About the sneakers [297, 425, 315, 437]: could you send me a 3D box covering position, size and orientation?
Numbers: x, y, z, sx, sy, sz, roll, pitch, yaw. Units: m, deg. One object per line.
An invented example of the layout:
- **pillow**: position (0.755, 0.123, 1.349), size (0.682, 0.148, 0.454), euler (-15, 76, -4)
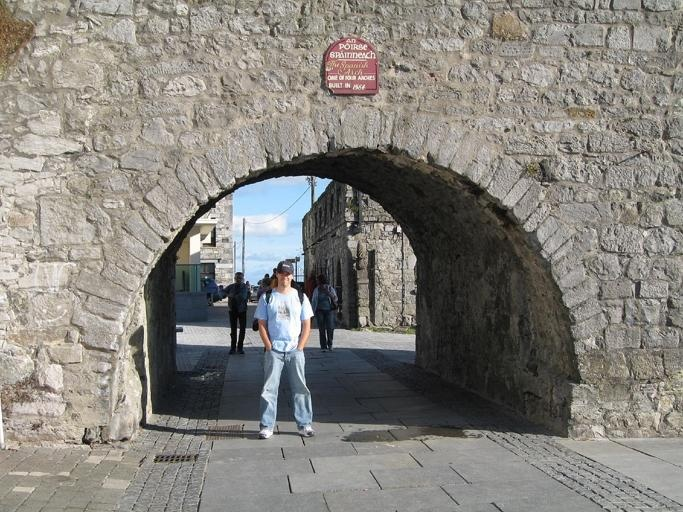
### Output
- **sneakers**: position (-0.383, 1.921, 6.523), size (0.187, 0.136, 0.222), euler (0, -1, -4)

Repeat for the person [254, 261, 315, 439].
- **person**: position (-0.635, 1.020, 6.539), size (0.630, 1.960, 0.330), euler (0, 0, -9)
